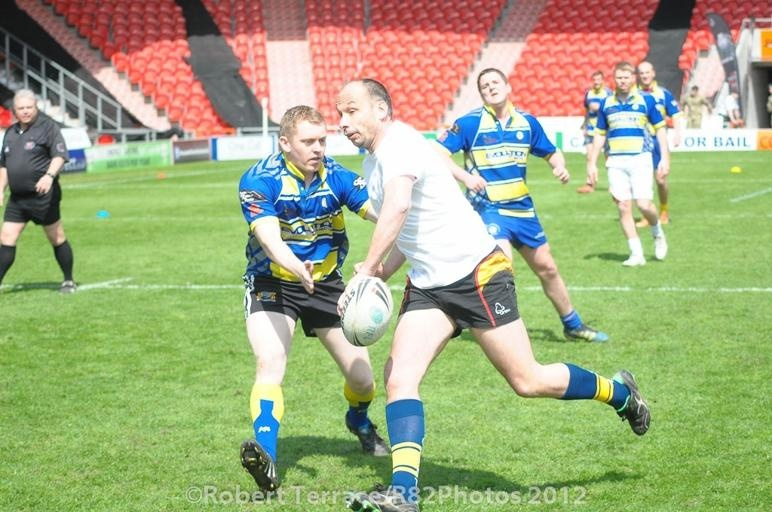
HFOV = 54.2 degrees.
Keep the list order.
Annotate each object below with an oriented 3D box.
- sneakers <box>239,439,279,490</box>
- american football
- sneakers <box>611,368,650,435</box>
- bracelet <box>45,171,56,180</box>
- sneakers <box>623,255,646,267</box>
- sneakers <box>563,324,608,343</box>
[{"bbox_3d":[-0.818,1.361,4.975,0.200,0.361,0.133,-15,21,18],"label":"sneakers"},{"bbox_3d":[-0.127,0.352,5.019,0.342,0.468,0.176,-5,8,-7],"label":"american football"},{"bbox_3d":[1.842,1.116,5.690,0.233,0.524,0.186,-30,10,-17],"label":"sneakers"},{"bbox_3d":[-4.028,-0.968,9.063,0.092,0.044,0.087,32,-11,-18],"label":"bracelet"},{"bbox_3d":[3.409,0.046,10.369,0.341,0.228,0.132,2,11,13],"label":"sneakers"},{"bbox_3d":[1.983,0.778,7.582,0.473,0.200,0.171,1,8,1],"label":"sneakers"}]
